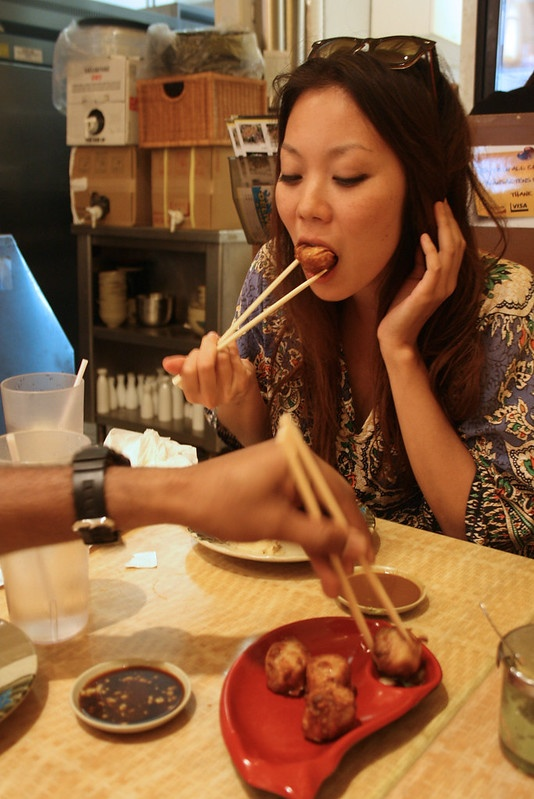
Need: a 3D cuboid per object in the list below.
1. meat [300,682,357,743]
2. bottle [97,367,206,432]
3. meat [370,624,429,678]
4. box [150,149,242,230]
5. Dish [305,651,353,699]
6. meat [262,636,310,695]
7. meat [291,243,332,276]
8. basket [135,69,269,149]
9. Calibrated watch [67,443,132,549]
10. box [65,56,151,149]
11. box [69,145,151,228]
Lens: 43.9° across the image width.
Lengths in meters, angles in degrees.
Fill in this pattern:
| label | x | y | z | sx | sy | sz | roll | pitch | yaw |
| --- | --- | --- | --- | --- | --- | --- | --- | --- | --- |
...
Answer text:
| label | x | y | z | sx | sy | sz | roll | pitch | yaw |
| --- | --- | --- | --- | --- | --- | --- | --- | --- | --- |
| meat | 0.066 | 0.333 | 0.700 | 0.057 | 0.051 | 0.050 | 0 | 10 | 6 |
| bottle | -0.633 | 0.020 | 3.570 | 0.395 | 0.253 | 0.120 | 4 | 4 | 34 |
| meat | 0.149 | 0.295 | 0.763 | 0.052 | 0.038 | 0.069 | -3 | 14 | 8 |
| box | -0.331 | -1.161 | 3.678 | 0.467 | 0.438 | 0.488 | 9 | 16 | 25 |
| Dish | 0.067 | 0.308 | 0.748 | 0.044 | 0.043 | 0.030 | -1 | 35 | -9 |
| meat | 0.024 | 0.318 | 0.794 | 0.056 | 0.042 | 0.072 | -1 | 40 | 6 |
| meat | 0.100 | -0.294 | 1.403 | 0.060 | 0.067 | 0.080 | -10 | 14 | -41 |
| basket | -0.254 | -1.503 | 3.554 | 0.719 | 0.437 | 0.710 | -19 | 27 | -42 |
| Calibrated watch | -0.196 | 0.107 | 0.793 | 0.058 | 0.103 | 0.134 | -2 | 10 | -5 |
| box | -0.850 | -1.641 | 3.628 | 0.268 | 0.433 | 0.486 | -16 | 25 | -42 |
| box | -1.067 | -1.255 | 3.877 | 0.283 | 0.441 | 0.501 | 14 | 22 | 30 |
